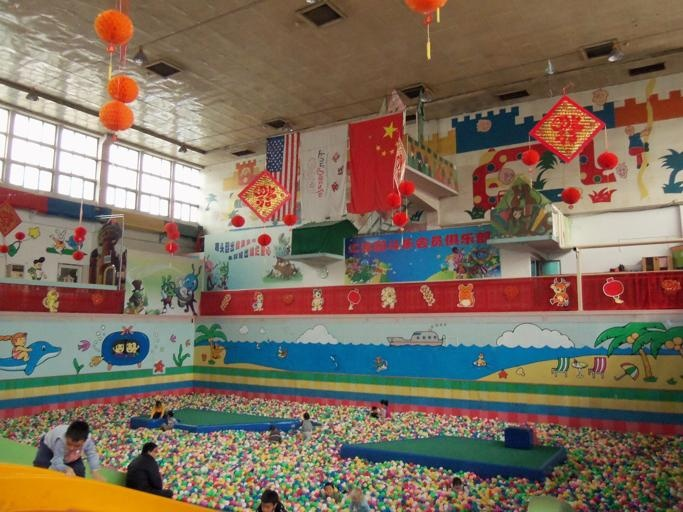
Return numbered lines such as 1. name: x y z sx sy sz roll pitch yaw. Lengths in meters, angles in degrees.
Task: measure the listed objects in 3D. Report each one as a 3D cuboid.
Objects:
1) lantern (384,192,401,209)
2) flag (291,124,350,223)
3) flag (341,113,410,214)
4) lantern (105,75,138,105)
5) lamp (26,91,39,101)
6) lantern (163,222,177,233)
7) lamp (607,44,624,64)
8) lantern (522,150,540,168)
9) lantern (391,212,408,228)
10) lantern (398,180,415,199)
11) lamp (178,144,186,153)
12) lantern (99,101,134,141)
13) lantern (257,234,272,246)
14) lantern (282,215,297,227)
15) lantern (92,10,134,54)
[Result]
1. lantern: 1.051 -1.162 11.136 0.331 0.363 0.314 -2 11 -6
2. flag: -0.413 -1.924 12.373 1.403 2.205 0.223 -5 -9 30
3. flag: 0.774 -2.043 11.656 1.574 2.063 0.366 -7 -10 40
4. lantern: -2.898 -2.236 7.037 0.336 0.424 0.274 1 -8 -15
5. lamp: -7.572 -3.910 12.959 0.271 0.182 0.374 3 -9 -29
6. lantern: -4.522 -0.769 13.959 0.242 0.294 0.367 2 -8 -23
7. lamp: 5.612 -4.154 10.982 0.291 0.118 0.420 25 -26 -17
8. lantern: 3.735 -1.933 10.451 0.272 0.410 0.680 -4 -8 23
9. lantern: 1.257 -0.802 11.436 0.274 0.365 0.409 -2 -8 5
10. lantern: 1.359 -1.410 11.053 0.359 0.424 0.385 3 5 7
11. lamp: -4.768 -3.259 15.870 0.267 0.086 0.224 -12 -29 37
12. lantern: -2.970 -1.883 7.009 0.376 0.429 0.305 0 -8 -11
13. lantern: -1.974 -0.411 13.727 0.346 0.370 0.314 -1 5 -35
14. lantern: -1.239 -0.858 12.893 0.242 0.273 0.162 3 16 3
15. lantern: -2.904 -2.971 6.719 0.413 0.574 0.348 -6 -9 35
